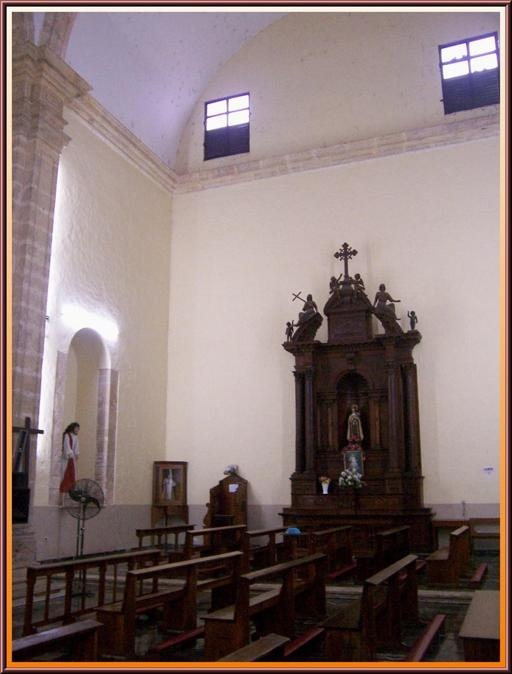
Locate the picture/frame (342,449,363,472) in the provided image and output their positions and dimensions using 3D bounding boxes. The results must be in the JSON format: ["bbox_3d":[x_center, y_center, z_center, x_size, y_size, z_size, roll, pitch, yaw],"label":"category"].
[{"bbox_3d":[1.836,2.314,10.559,0.389,0.525,0.071,-5,-27,22],"label":"picture/frame"}]

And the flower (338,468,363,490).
[{"bbox_3d":[1.729,2.614,10.302,0.383,0.359,0.435,-6,-11,19],"label":"flower"}]

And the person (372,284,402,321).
[{"bbox_3d":[2.506,-0.695,10.979,0.398,0.818,0.798,-4,-10,12],"label":"person"}]

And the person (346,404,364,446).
[{"bbox_3d":[1.902,1.685,10.878,0.331,0.781,0.303,-4,-10,10],"label":"person"}]

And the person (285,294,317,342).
[{"bbox_3d":[0.949,-0.422,11.540,0.681,1.128,0.828,1,-10,-15],"label":"person"}]

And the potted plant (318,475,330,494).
[{"bbox_3d":[1.309,2.789,10.598,0.213,0.321,0.375,-3,-10,6],"label":"potted plant"}]

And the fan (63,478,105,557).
[{"bbox_3d":[-2.822,2.975,9.163,0.638,1.372,2.154,1,-10,-16],"label":"fan"}]
